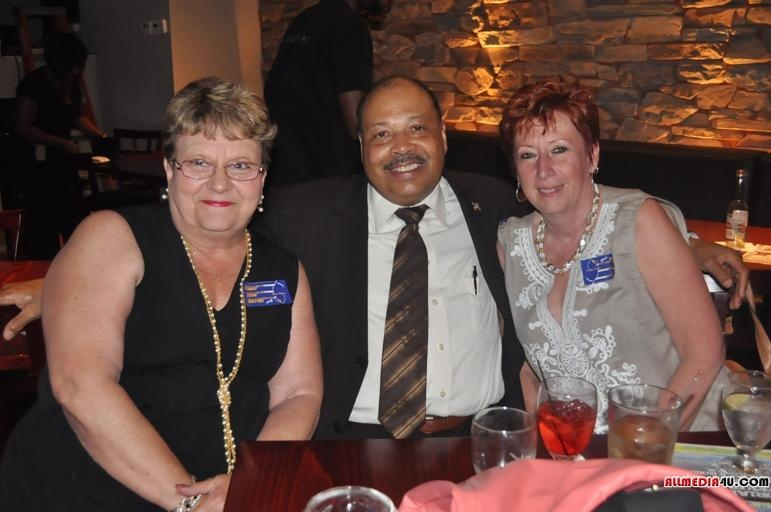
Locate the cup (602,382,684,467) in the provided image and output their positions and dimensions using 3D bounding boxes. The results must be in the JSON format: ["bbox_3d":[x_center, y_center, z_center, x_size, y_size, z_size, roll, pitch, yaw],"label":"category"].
[{"bbox_3d":[0.787,0.474,2.032,0.242,0.257,0.242,1,3,0],"label":"cup"}]

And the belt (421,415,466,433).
[{"bbox_3d":[0.244,0.721,2.829,0.132,0.031,0.089,-2,10,-8],"label":"belt"}]

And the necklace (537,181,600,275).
[{"bbox_3d":[0.773,-0.120,2.743,0.279,0.399,0.067,0,0,15],"label":"necklace"}]

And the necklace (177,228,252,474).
[{"bbox_3d":[-0.601,0.338,2.546,0.296,0.918,0.073,-2,-6,-8],"label":"necklace"}]

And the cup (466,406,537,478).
[{"bbox_3d":[0.343,0.534,1.977,0.195,0.208,0.190,-1,0,0],"label":"cup"}]
